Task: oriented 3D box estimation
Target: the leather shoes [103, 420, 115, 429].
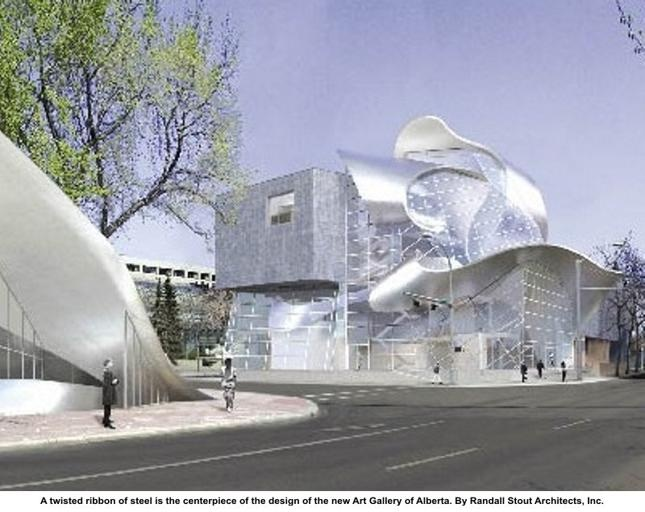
[{"bbox_3d":[-5.467,4.300,14.527,0.233,0.119,0.312,4,2,-17],"label":"leather shoes"}]
